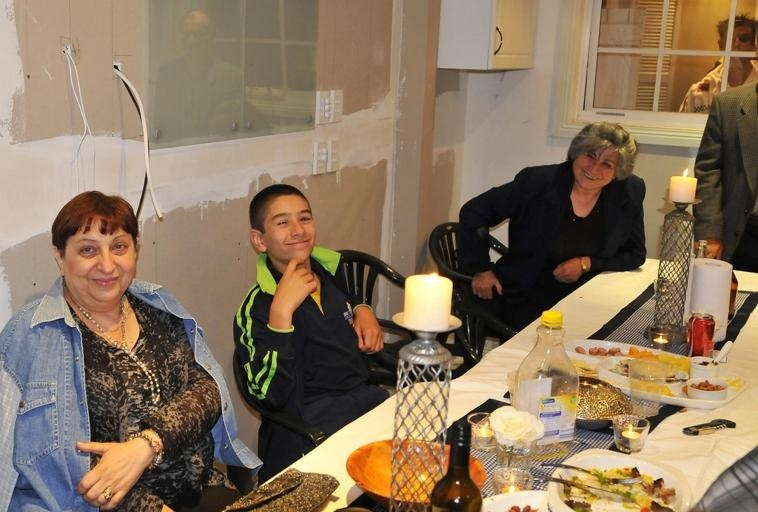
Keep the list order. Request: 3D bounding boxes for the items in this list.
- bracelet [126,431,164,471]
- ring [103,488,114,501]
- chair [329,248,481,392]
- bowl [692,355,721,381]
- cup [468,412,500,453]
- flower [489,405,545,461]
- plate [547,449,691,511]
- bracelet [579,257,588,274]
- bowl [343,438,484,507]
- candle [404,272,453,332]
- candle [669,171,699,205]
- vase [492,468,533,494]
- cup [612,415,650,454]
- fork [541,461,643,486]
[{"bbox_3d":[-0.723,0.604,1.917,0.107,0.117,0.044,-13,11,28],"label":"bracelet"},{"bbox_3d":[-0.794,0.704,1.795,0.028,0.030,0.010,9,-4,-13],"label":"ring"},{"bbox_3d":[0.134,0.240,3.164,0.701,0.919,0.672,1,8,25],"label":"chair"},{"bbox_3d":[1.128,0.389,2.117,0.082,0.061,0.082,0,0,0],"label":"bowl"},{"bbox_3d":[0.291,0.504,1.735,0.095,0.099,0.101,-1,1,0],"label":"cup"},{"bbox_3d":[0.346,0.454,1.607,0.132,0.140,0.128,-4,15,-19],"label":"flower"},{"bbox_3d":[0.594,0.570,1.533,0.279,0.050,0.293,13,16,40],"label":"plate"},{"bbox_3d":[1.110,0.049,3.307,0.049,0.067,0.073,1,13,5],"label":"bracelet"},{"bbox_3d":[0.090,0.575,1.554,0.338,0.085,0.322,4,9,-1],"label":"bowl"},{"bbox_3d":[0.109,0.102,1.386,0.112,0.122,0.114,5,3,9],"label":"candle"},{"bbox_3d":[1.340,-0.288,2.704,0.099,0.125,0.194,6,15,23],"label":"candle"},{"bbox_3d":[0.346,0.570,1.565,0.073,0.054,0.073,0,-3,0],"label":"vase"},{"bbox_3d":[0.703,0.501,1.725,0.101,0.081,0.109,0,0,0],"label":"cup"},{"bbox_3d":[0.552,0.554,1.553,0.271,0.041,0.039,6,25,13],"label":"fork"}]
